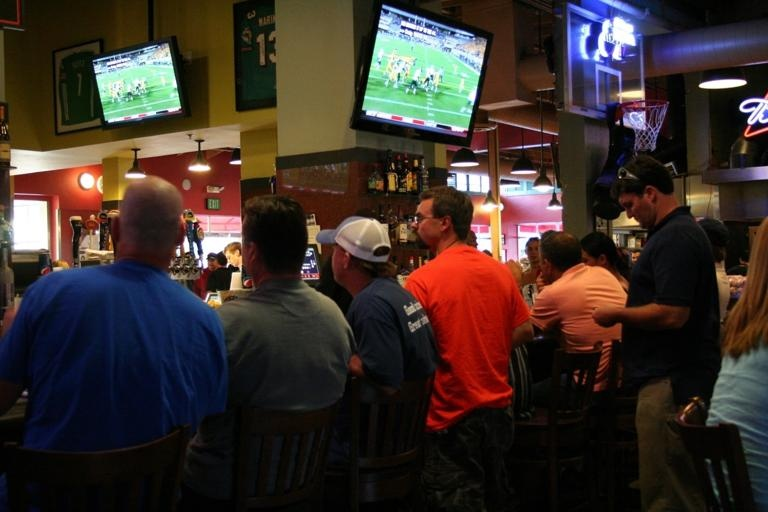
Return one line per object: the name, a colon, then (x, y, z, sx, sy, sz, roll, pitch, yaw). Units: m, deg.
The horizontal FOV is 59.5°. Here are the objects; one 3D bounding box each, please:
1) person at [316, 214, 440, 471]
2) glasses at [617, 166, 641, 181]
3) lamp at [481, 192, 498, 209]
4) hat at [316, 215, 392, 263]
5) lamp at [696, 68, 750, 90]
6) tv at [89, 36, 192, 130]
person: (-0.102, 0.492, 3.895, 0.783, 1.395, 0.786, 4, 2, 32)
glasses: (1.556, -0.518, 4.282, 0.099, 0.032, 0.084, 20, 0, 2)
lamp: (2.472, -1.317, 15.902, 0.352, 0.366, 0.368, 1, 10, 5)
hat: (-0.165, -0.091, 3.852, 0.363, 0.187, 0.229, 25, 22, 28)
lamp: (4.590, -2.444, 9.140, 0.523, 0.234, 0.619, 2, 6, 29)
tv: (-3.681, -2.672, 10.331, 1.557, 1.056, 0.170, -10, 12, 22)
